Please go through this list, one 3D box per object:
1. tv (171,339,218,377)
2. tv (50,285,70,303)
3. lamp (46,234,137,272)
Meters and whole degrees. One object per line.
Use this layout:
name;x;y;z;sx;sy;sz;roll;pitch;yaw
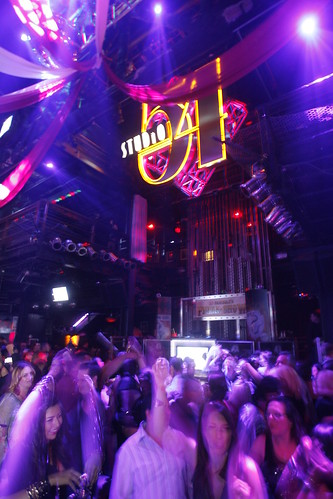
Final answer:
tv;0.457;2.073;5.624;1.058;0.861;0.144;15;-24;-36
tv;-4.097;1.750;11.915;0.630;0.727;0.154;-2;1;22
lamp;-1.981;0.098;8.432;0.530;0.463;2.549;-13;-23;41
